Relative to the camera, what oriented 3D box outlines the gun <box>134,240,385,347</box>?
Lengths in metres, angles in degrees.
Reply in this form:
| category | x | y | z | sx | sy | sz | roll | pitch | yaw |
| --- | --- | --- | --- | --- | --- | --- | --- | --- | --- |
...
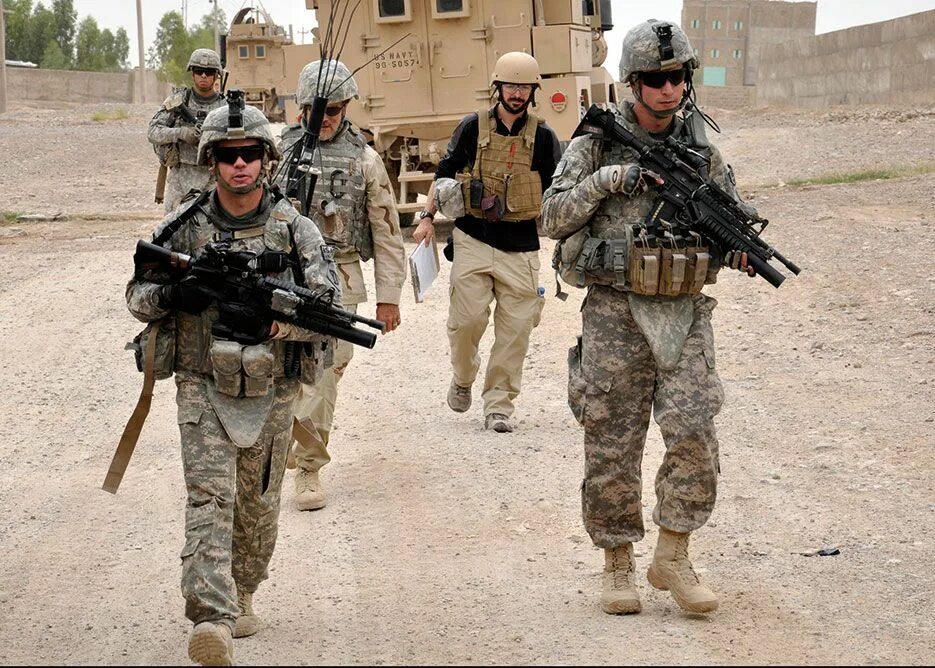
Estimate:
| category | x | y | z | sx | sy | sz | roll | pitch | yaw |
| --- | --- | --- | --- | --- | --- | --- | --- | --- | --- |
| gun | -0.941 | -0.184 | 4.469 | 1.030 | 0.475 | 0.164 | 0 | 14 | 14 |

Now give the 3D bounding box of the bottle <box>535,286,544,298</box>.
| category | x | y | z | sx | sy | sz | roll | pitch | yaw |
| --- | --- | --- | --- | --- | --- | --- | --- | --- | --- |
| bottle | 0.599 | -0.348 | 8.407 | 0.114 | 0.052 | 0.147 | 2 | 33 | 0 |

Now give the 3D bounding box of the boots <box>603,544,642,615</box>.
| category | x | y | z | sx | sy | sz | roll | pitch | yaw |
| --- | --- | --- | --- | --- | --- | --- | --- | --- | --- |
| boots | 0.746 | 1.180 | 4.916 | 0.189 | 0.293 | 0.282 | -2 | 13 | 7 |

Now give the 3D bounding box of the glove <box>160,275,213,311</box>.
| category | x | y | z | sx | sy | sz | roll | pitch | yaw |
| --- | --- | --- | --- | --- | --- | --- | --- | --- | --- |
| glove | -1.234 | -0.166 | 4.488 | 0.220 | 0.168 | 0.119 | -3 | 13 | 1 |

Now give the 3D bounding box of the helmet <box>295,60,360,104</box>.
| category | x | y | z | sx | sy | sz | roll | pitch | yaw |
| --- | --- | --- | --- | --- | --- | --- | --- | --- | --- |
| helmet | -0.855 | -1.537 | 6.202 | 0.365 | 0.253 | 0.356 | -3 | 9 | -28 |

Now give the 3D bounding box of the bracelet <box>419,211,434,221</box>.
| category | x | y | z | sx | sy | sz | roll | pitch | yaw |
| --- | --- | --- | --- | --- | --- | --- | --- | --- | --- |
| bracelet | -0.306 | -0.885 | 7.387 | 0.109 | 0.098 | 0.053 | 4 | -8 | 7 |

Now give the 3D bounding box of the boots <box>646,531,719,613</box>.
| category | x | y | z | sx | sy | sz | roll | pitch | yaw |
| --- | --- | --- | --- | --- | --- | --- | --- | --- | --- |
| boots | 1.014 | 1.112 | 4.782 | 0.162 | 0.342 | 0.315 | -9 | 14 | -24 |

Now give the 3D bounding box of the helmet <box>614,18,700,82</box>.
| category | x | y | z | sx | sy | sz | roll | pitch | yaw |
| --- | --- | --- | --- | --- | --- | --- | --- | --- | --- |
| helmet | 0.926 | -1.412 | 4.980 | 0.421 | 0.249 | 0.408 | 3 | 30 | 20 |

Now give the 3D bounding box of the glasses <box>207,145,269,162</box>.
| category | x | y | z | sx | sy | sz | roll | pitch | yaw |
| --- | --- | --- | --- | --- | --- | --- | --- | --- | --- |
| glasses | -1.038 | -0.812 | 4.552 | 0.206 | 0.083 | 0.103 | -7 | 13 | -18 |

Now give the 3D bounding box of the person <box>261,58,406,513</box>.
| category | x | y | z | sx | sy | sz | roll | pitch | yaw |
| --- | --- | --- | --- | --- | --- | --- | --- | --- | --- |
| person | -0.928 | -0.248 | 6.275 | 1.183 | 2.719 | 1.057 | -1 | 7 | -18 |

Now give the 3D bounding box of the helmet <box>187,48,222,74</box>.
| category | x | y | z | sx | sy | sz | roll | pitch | yaw |
| --- | --- | --- | --- | --- | --- | --- | --- | --- | --- |
| helmet | -2.589 | -2.684 | 9.886 | 0.333 | 0.223 | 0.329 | 1 | 5 | -7 |

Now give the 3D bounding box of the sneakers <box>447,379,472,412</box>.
| category | x | y | z | sx | sy | sz | roll | pitch | yaw |
| --- | --- | --- | --- | --- | --- | --- | --- | --- | --- |
| sneakers | -0.061 | 0.488 | 7.935 | 0.154 | 0.251 | 0.106 | 3 | 6 | -13 |

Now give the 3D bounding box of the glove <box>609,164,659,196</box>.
| category | x | y | z | sx | sy | sz | roll | pitch | yaw |
| --- | --- | --- | --- | --- | --- | --- | --- | --- | --- |
| glove | 0.812 | -0.733 | 4.836 | 0.237 | 0.155 | 0.217 | -1 | 13 | 10 |

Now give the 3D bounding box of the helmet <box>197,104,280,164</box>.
| category | x | y | z | sx | sy | sz | roll | pitch | yaw |
| --- | --- | --- | --- | --- | --- | --- | --- | --- | --- |
| helmet | -1.056 | -0.921 | 4.664 | 0.338 | 0.211 | 0.305 | -12 | 12 | -14 |

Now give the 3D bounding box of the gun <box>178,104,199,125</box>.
| category | x | y | z | sx | sy | sz | roll | pitch | yaw |
| --- | --- | --- | --- | --- | --- | --- | --- | --- | --- |
| gun | -2.701 | -2.112 | 9.763 | 0.053 | 0.219 | 0.211 | -43 | -1 | 1 |

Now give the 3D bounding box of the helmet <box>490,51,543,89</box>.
| category | x | y | z | sx | sy | sz | roll | pitch | yaw |
| --- | --- | --- | --- | --- | --- | --- | --- | --- | --- |
| helmet | 0.336 | -1.862 | 7.112 | 0.327 | 0.238 | 0.389 | -3 | 12 | 1 |
